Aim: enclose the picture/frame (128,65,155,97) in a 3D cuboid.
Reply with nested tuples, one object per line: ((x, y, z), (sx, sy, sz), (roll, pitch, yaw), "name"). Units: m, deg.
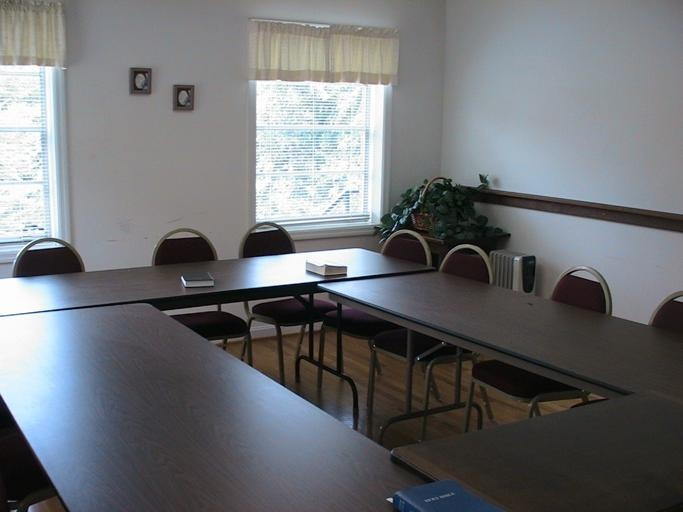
((-1.787, -1.569, 4.538), (0.259, 0.342, 0.035), (-4, 10, -33), "picture/frame")

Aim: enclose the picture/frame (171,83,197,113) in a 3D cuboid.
((-1.457, -1.471, 4.697), (0.248, 0.330, 0.033), (-4, 9, -31), "picture/frame")
